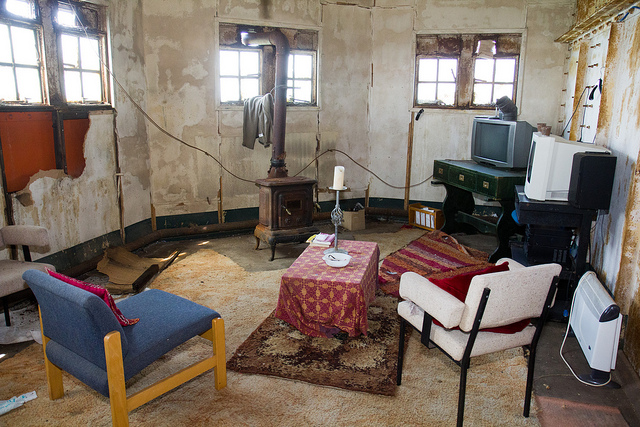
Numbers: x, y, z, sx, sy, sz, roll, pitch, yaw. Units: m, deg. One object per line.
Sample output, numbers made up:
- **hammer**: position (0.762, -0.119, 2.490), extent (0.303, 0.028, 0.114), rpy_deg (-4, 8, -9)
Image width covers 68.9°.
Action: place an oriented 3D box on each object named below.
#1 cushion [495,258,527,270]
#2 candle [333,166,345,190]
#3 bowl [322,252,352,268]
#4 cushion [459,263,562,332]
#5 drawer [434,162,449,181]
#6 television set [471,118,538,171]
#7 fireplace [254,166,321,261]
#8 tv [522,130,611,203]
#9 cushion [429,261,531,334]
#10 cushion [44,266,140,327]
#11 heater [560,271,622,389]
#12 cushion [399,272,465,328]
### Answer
- **cushion**: position (1.682, 0.439, 4.112), extent (0.144, 0.037, 0.127), rpy_deg (-11, 21, -19)
- **candle**: position (0.185, -0.365, 4.748), extent (0.098, 0.224, 0.169), rpy_deg (2, 14, 6)
- **bowl**: position (0.171, 0.480, 4.843), extent (0.270, 0.102, 0.294), rpy_deg (1, 12, 0)
- **cushion**: position (1.502, 0.674, 3.715), extent (0.810, 0.550, 0.150), rpy_deg (-3, 15, -19)
- **drawer**: position (1.886, -0.660, 7.257), extent (0.173, 0.298, 0.216), rpy_deg (-14, 26, -28)
- **television set**: position (2.536, -0.977, 6.575), extent (0.553, 0.738, 1.208), rpy_deg (1, 11, -16)
- **fireplace**: position (-0.510, -0.101, 6.959), extent (1.040, 1.312, 0.872), rpy_deg (-5, 14, -24)
- **tv**: position (2.544, -0.541, 5.137), extent (0.818, 0.745, 0.683), rpy_deg (1, 16, 8)
- **cushion**: position (1.297, 0.698, 4.055), extent (0.721, 0.583, 0.738), rpy_deg (14, 20, -15)
- **cushion**: position (-1.874, 0.602, 3.782), extent (0.575, 0.167, 0.502), rpy_deg (18, 15, 17)
- **heater**: position (2.497, 1.055, 4.251), extent (0.329, 0.933, 0.589), rpy_deg (1, 14, 0)
- **cushion**: position (0.908, 0.693, 3.874), extent (0.174, 0.223, 0.566), rpy_deg (-11, 29, -39)
